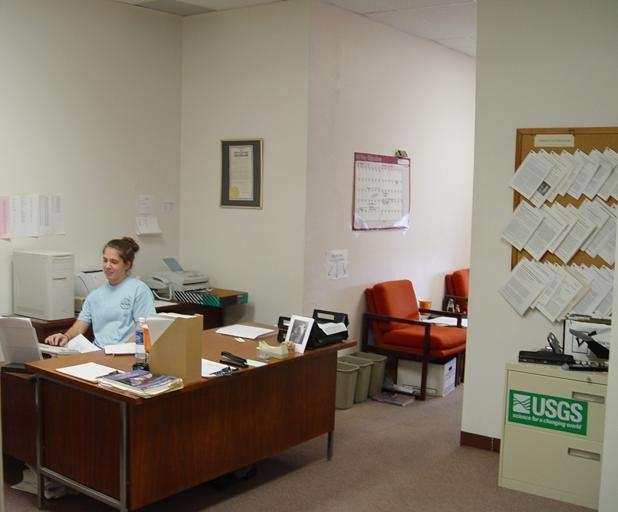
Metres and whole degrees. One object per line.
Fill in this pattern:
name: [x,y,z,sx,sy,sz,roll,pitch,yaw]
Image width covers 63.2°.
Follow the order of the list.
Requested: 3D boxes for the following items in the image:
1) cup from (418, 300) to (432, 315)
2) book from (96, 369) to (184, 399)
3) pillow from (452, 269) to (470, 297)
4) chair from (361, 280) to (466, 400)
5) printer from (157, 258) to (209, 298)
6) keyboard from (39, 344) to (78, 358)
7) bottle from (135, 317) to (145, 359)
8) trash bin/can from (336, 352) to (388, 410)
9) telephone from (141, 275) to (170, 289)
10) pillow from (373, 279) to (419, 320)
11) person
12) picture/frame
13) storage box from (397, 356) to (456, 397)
cup: [1.420,0.605,6.051,0.138,0.124,0.150,1,-1,0]
book: [-0.850,0.629,2.512,0.182,0.035,0.187,6,6,35]
pillow: [2.016,0.359,6.638,0.312,0.320,0.108,-13,11,-41]
chair: [1.243,0.811,5.813,1.154,1.517,1.033,1,2,40]
printer: [-1.270,0.213,4.988,0.375,0.295,0.390,3,4,27]
keyboard: [-1.603,0.602,3.206,0.147,0.061,0.116,8,6,31]
bottle: [-0.958,0.458,2.870,0.050,0.220,0.170,0,3,-17]
trash bin/can: [0.502,1.208,4.940,0.333,0.291,0.534,1,0,27]
telephone: [-1.491,0.245,4.919,0.198,0.065,0.145,3,0,32]
pillow: [1.034,0.502,5.674,0.500,0.468,0.172,-8,-15,-28]
person: [-1.454,0.275,3.592,0.633,0.845,0.564,2,3,-2]
picture/frame: [-0.669,-0.829,4.997,0.520,0.698,0.027,-7,12,-40]
storage box: [1.256,1.249,5.325,0.417,0.275,0.420,1,2,36]
